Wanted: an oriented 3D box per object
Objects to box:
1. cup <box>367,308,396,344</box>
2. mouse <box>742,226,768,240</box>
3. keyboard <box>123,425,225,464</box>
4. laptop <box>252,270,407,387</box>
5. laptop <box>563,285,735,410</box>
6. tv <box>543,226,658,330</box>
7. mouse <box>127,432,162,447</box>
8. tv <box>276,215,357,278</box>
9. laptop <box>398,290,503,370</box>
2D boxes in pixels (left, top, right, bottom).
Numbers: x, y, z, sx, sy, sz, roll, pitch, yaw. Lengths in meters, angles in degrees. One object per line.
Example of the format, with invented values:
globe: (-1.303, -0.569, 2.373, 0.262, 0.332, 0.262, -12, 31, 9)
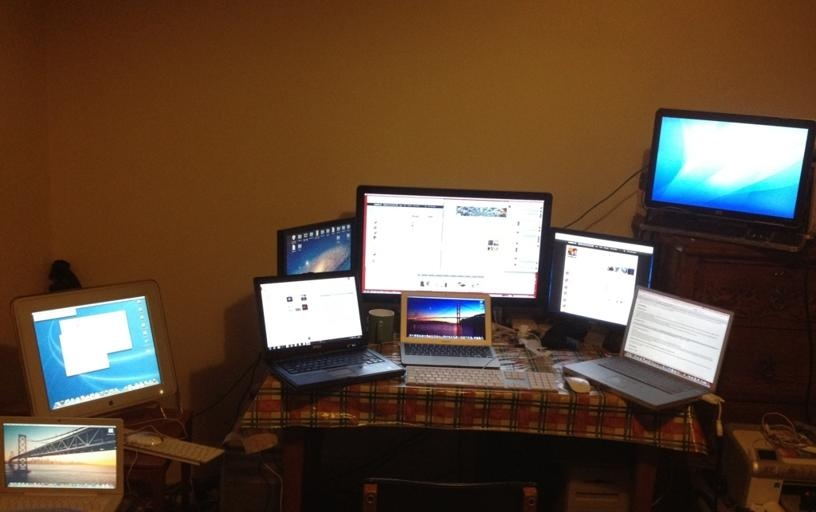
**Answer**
cup: (-0.135, 0.347, 3.210, 0.139, 0.142, 0.178, 5, 12, 6)
mouse: (1.599, -0.103, 3.030, 0.090, 0.058, 0.021, 4, -28, 21)
keyboard: (-1.007, 0.806, 2.797, 0.331, 0.035, 0.186, 10, 4, 1)
laptop: (-0.425, 0.330, 3.041, 0.554, 0.534, 0.385, -2, -1, -20)
laptop: (1.053, 0.386, 2.904, 0.652, 0.331, 0.595, 0, 12, -8)
tv: (0.925, 0.111, 3.170, 0.479, 0.389, 0.050, 10, 8, 16)
mouse: (-1.121, 0.778, 2.817, 0.095, 0.021, 0.062, 8, 5, 14)
tv: (-0.405, -0.044, 3.123, 0.404, 0.270, 0.133, -2, 7, -41)
laptop: (0.202, 0.334, 3.039, 0.452, 0.254, 0.339, 3, 12, -3)
